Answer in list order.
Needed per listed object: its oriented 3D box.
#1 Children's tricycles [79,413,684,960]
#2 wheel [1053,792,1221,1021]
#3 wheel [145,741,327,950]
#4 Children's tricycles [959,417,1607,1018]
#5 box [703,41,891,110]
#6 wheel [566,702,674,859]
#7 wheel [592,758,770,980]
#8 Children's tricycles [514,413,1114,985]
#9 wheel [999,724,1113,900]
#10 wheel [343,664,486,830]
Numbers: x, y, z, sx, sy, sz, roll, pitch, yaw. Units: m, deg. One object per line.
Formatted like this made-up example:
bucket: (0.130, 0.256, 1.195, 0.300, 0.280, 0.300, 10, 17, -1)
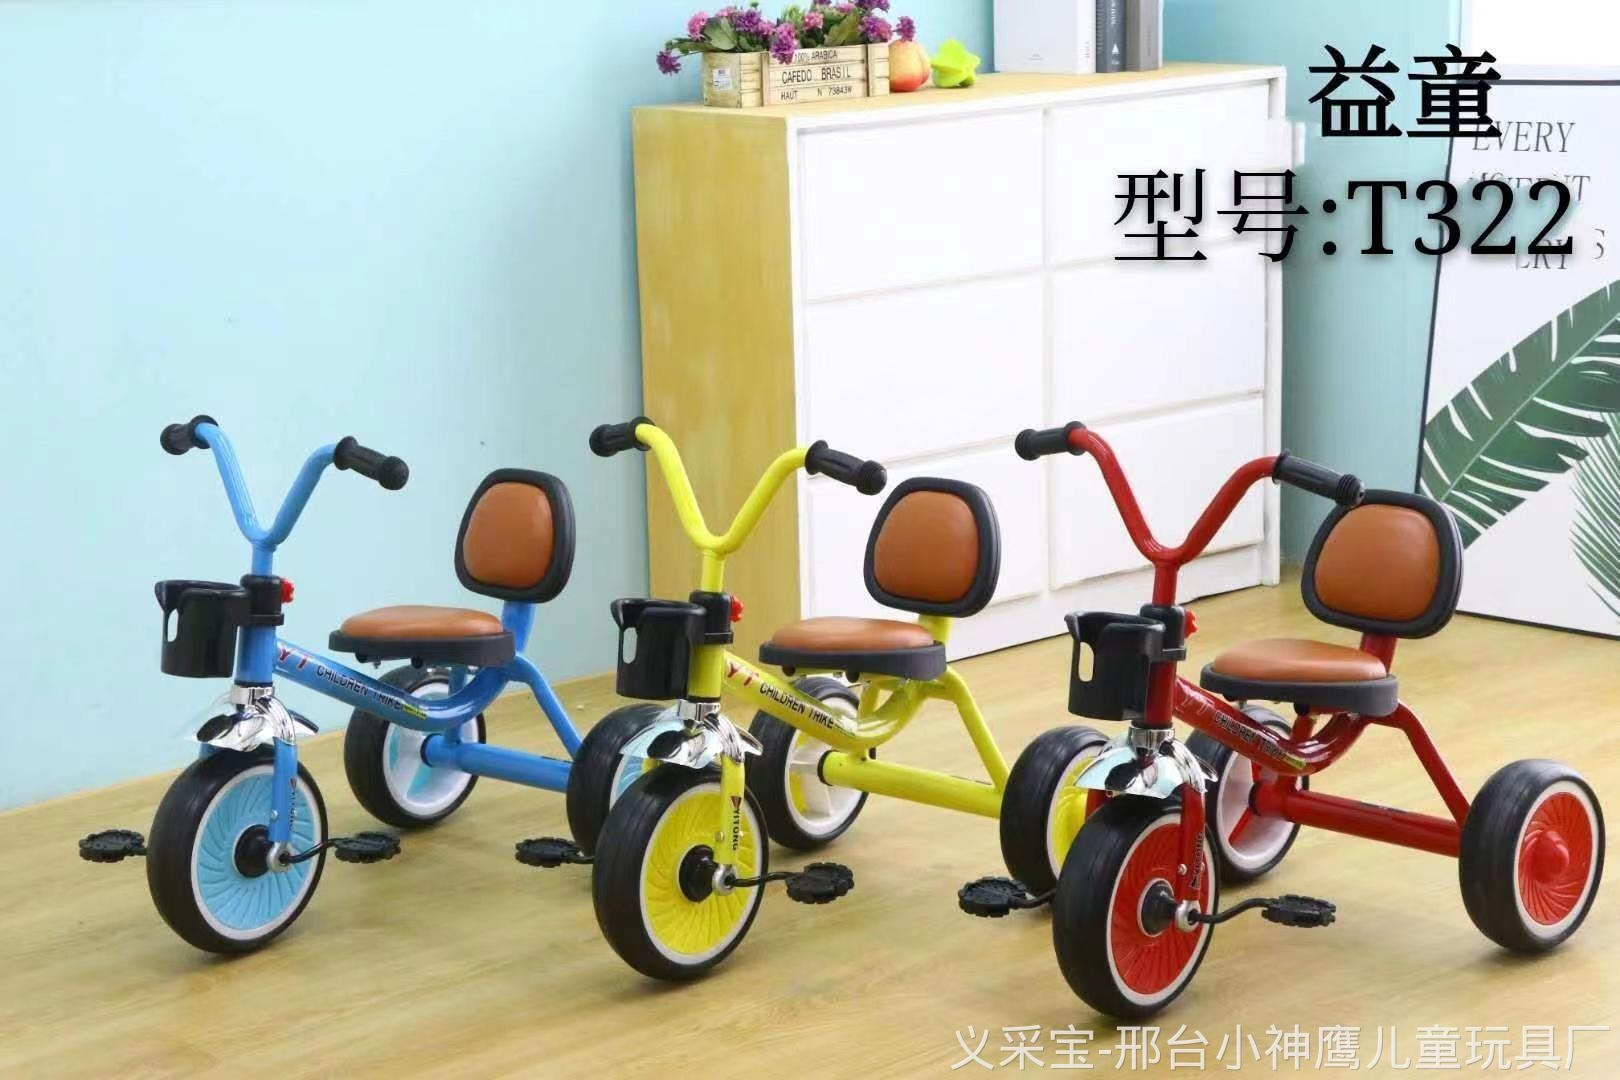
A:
Children's tricycles: (-0.945, 0.285, 3.442, 0.786, 1.094, 1.229, 6, 8, 30)
wheel: (0.604, 0.676, 2.846, 0.349, 0.429, 0.116, -12, 19, -29)
wheel: (-1.129, 0.625, 3.168, 0.340, 0.417, 0.119, 10, -13, 15)
Children's tricycles: (0.881, 0.332, 3.074, 1.033, 1.013, 0.929, -6, 7, -28)
box: (-0.026, -1.343, 4.437, 0.557, 0.158, 0.158, -9, 18, -23)
wheel: (-0.394, 0.496, 3.169, 0.086, 0.237, 0.236, 11, -24, 35)
wheel: (-0.251, 0.647, 3.000, 0.101, 0.299, 0.329, 2, -35, 42)
Children's tricycles: (-0.018, 0.311, 3.341, 1.196, 1.051, 1.073, -7, 9, -36)
wheel: (0.496, 0.546, 3.088, 0.147, 0.374, 0.311, 11, 8, 39)
wheel: (-0.967, 0.476, 3.748, 0.119, 0.384, 0.357, -4, 6, 30)
